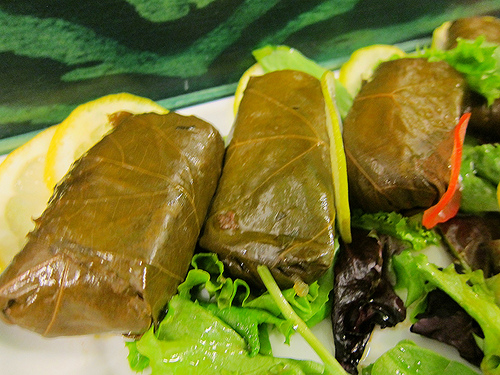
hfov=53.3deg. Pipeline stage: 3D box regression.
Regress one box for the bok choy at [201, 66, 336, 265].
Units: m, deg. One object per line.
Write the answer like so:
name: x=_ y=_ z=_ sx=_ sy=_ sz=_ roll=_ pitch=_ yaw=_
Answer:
bok choy: x=0.090 y=-0.034 z=1.684 sx=0.357 sy=0.706 sz=0.216 roll=6 pitch=-19 yaw=2
